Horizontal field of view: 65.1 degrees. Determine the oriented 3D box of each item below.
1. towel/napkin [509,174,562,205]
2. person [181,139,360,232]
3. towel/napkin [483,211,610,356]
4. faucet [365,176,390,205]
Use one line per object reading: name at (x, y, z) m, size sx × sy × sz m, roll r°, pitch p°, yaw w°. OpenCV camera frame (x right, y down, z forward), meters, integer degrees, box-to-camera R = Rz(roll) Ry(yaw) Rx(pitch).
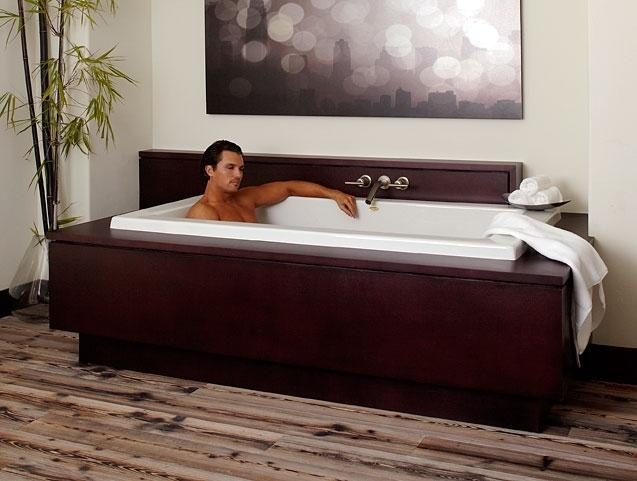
towel/napkin at (1.050, -0.233, 2.408) m, size 0.183 × 0.077 × 0.182 m, roll -3°, pitch 13°, yaw -3°
person at (-0.243, -0.207, 2.531) m, size 0.783 × 0.479 × 0.646 m, roll -10°, pitch 24°, yaw -19°
towel/napkin at (0.742, 0.105, 1.959) m, size 0.607 × 0.388 × 0.357 m, roll 14°, pitch 29°, yaw 36°
faucet at (0.333, -0.281, 2.755) m, size 0.104 × 0.096 × 0.188 m, roll 1°, pitch 26°, yaw 32°
